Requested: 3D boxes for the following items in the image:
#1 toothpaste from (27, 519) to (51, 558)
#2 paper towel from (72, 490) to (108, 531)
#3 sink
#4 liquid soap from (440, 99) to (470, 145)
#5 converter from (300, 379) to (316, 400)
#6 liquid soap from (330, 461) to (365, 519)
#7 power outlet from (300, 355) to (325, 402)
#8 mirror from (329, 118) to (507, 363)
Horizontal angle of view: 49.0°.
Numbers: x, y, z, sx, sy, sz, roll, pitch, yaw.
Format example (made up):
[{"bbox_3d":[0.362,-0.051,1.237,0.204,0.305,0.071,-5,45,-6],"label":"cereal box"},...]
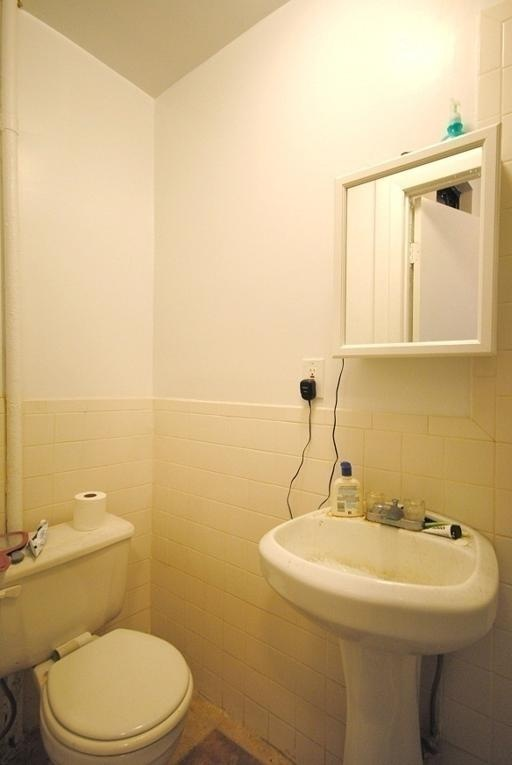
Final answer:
[{"bbox_3d":[-0.592,0.431,1.551,0.029,0.051,0.117,5,31,-3],"label":"toothpaste"},{"bbox_3d":[-0.508,0.378,1.718,0.094,0.107,0.088,2,-1,-38],"label":"paper towel"},{"bbox_3d":[0.247,0.403,1.182,0.479,0.158,0.390,1,10,25],"label":"sink"},{"bbox_3d":[0.455,-0.605,1.285,0.047,0.096,0.078,2,10,28],"label":"liquid soap"},{"bbox_3d":[0.147,0.017,1.574,0.043,0.081,0.027,2,3,27],"label":"converter"},{"bbox_3d":[0.231,0.252,1.412,0.080,0.168,0.054,-2,31,11],"label":"liquid soap"},{"bbox_3d":[0.162,-0.012,1.582,0.093,0.205,0.018,-5,-8,44],"label":"power outlet"},{"bbox_3d":[0.381,-0.284,1.312,0.396,0.544,0.026,-1,-27,26],"label":"mirror"}]
